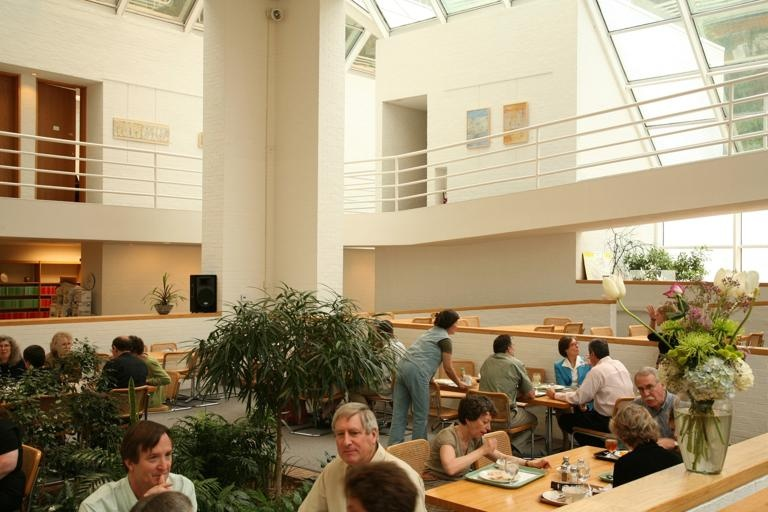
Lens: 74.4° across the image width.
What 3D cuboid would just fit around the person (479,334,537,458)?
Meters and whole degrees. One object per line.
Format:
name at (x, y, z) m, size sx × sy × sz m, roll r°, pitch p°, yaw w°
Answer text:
person at (1.455, 1.740, 6.001) m, size 0.692 × 1.540 × 0.872 m, roll -3°, pitch -12°, yaw 42°

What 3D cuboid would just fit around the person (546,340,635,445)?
person at (2.388, 1.685, 5.752) m, size 1.008 × 1.356 × 0.713 m, roll -5°, pitch -9°, yaw 39°

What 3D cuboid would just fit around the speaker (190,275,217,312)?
speaker at (-3.452, 0.728, 9.704) m, size 0.449 × 0.711 × 0.244 m, roll 1°, pitch -5°, yaw -32°

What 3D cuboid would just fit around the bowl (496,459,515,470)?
bowl at (0.865, 1.492, 3.608) m, size 0.133 × 0.048 × 0.129 m, roll 2°, pitch -7°, yaw 0°
